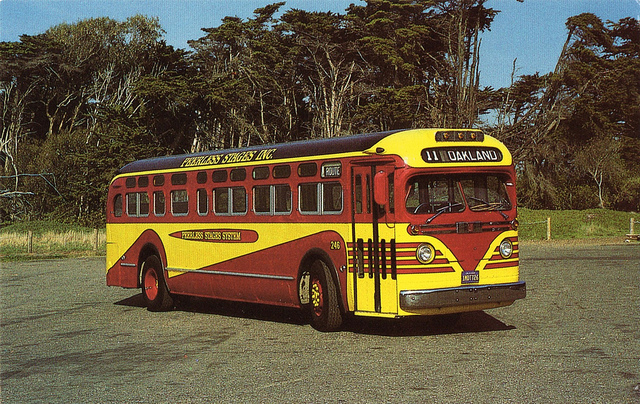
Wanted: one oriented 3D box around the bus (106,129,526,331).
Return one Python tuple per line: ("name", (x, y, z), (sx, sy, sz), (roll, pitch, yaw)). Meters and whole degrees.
("bus", (-1.310, 0.746, 16.775), (4.277, 4.268, 12.952), (1, -2, -42))
